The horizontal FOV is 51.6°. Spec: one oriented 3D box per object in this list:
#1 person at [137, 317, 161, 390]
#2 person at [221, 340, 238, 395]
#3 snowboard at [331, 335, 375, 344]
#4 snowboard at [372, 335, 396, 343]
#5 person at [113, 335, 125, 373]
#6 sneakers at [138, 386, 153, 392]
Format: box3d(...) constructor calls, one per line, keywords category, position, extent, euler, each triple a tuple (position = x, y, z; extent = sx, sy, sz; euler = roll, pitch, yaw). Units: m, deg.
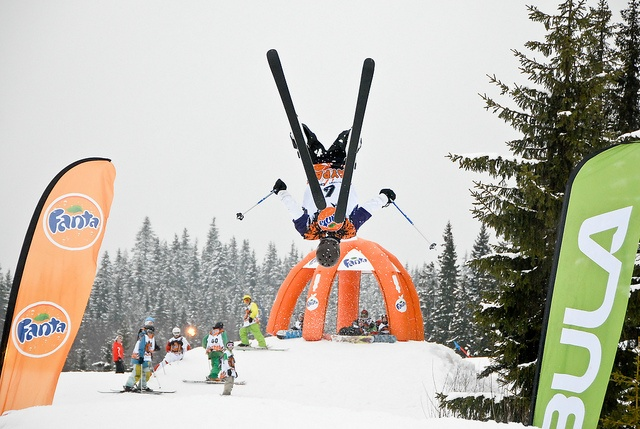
box3d(category="person", position=(-4.682, 3.725, 17.697), extent=(0.549, 1.604, 0.899), euler=(4, -2, -14))
box3d(category="person", position=(-2.361, 4.007, 17.191), extent=(0.353, 1.047, 1.396), euler=(4, -2, -7))
box3d(category="snowboard", position=(1.113, 4.111, 22.214), extent=(1.422, 0.305, 0.469), euler=(4, -2, 7))
box3d(category="snowboard", position=(2.170, 4.176, 22.408), extent=(0.956, 0.282, 0.271), euler=(4, 3, -19))
box3d(category="person", position=(-6.274, 4.311, 20.725), extent=(0.346, 1.066, 1.052), euler=(4, -2, -18))
box3d(category="sneakers", position=(-4.591, 4.565, 17.431), extent=(0.448, 0.141, 0.153), euler=(-1, -1, -1))
